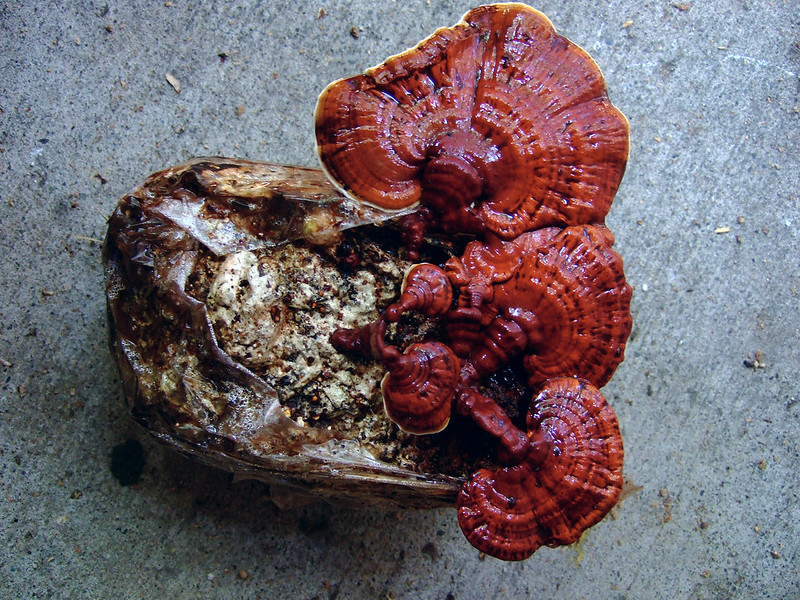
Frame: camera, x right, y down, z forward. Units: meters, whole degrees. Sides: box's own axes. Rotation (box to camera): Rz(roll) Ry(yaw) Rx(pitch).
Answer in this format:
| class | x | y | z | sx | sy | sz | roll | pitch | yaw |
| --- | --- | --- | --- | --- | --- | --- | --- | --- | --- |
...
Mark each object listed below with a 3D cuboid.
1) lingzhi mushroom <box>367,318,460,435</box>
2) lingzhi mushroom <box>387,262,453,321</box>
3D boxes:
| class | x | y | z | sx | sy | sz | roll | pitch | yaw |
| --- | --- | --- | --- | --- | --- | --- | --- | --- | --- |
| lingzhi mushroom | 0.041 | 0.362 | 5.209 | 0.435 | 0.196 | 0.412 | 18 | 80 | 2 |
| lingzhi mushroom | 0.113 | -0.021 | 5.195 | 0.272 | 0.118 | 0.223 | -32 | 99 | -26 |
